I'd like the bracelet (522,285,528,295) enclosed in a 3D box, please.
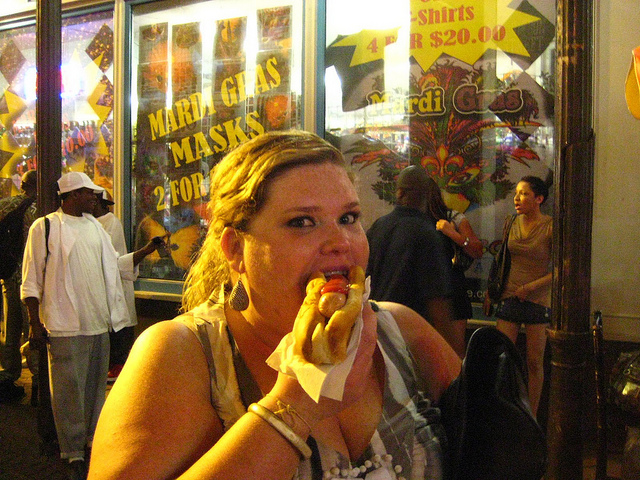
[{"bbox_3d":[2.038,0.501,5.452,0.016,0.098,0.025,-4,-16,-18],"label":"bracelet"}]

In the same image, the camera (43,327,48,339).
[{"bbox_3d":[-2.464,0.841,4.919,0.025,0.077,0.072,0,1,-37],"label":"camera"}]

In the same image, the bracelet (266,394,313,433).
[{"bbox_3d":[-0.111,0.694,2.138,0.173,0.042,0.098,32,3,11],"label":"bracelet"}]

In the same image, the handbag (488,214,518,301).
[{"bbox_3d":[1.863,0.174,5.743,0.228,0.882,0.302,5,10,15],"label":"handbag"}]

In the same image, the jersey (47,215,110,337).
[{"bbox_3d":[-2.280,0.325,5.273,0.411,1.086,0.468,3,4,25],"label":"jersey"}]

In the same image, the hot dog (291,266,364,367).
[{"bbox_3d":[0.043,0.285,2.434,0.307,0.221,0.657,10,18,1],"label":"hot dog"}]

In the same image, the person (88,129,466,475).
[{"bbox_3d":[-0.288,0.415,2.753,1.320,1.840,0.748,2,-12,-23],"label":"person"}]
